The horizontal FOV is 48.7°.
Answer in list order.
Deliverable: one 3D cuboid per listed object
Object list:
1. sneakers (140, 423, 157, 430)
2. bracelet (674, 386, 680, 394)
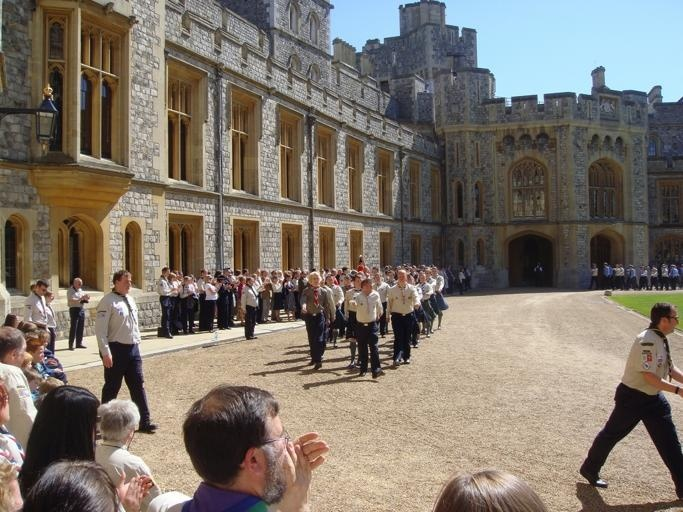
[{"bbox_3d":[-2.970,2.614,11.541,0.277,0.128,0.096,-1,-2,3],"label":"sneakers"},{"bbox_3d":[4.212,1.683,9.457,0.028,0.085,0.058,8,-3,4],"label":"bracelet"}]
